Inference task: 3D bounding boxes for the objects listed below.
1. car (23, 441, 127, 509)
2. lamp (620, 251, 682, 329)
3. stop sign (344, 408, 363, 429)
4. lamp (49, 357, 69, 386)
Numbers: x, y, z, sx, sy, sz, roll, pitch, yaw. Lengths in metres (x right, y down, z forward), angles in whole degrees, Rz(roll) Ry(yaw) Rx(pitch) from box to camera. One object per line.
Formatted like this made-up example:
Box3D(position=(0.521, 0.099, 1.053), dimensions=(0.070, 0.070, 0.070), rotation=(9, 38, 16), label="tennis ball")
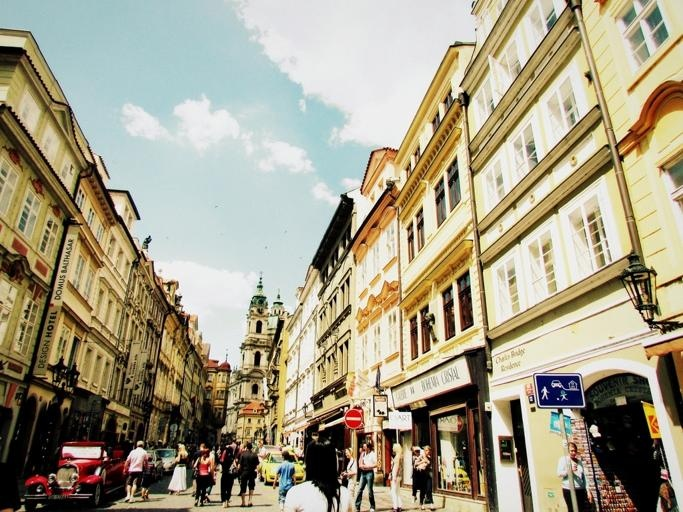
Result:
Box3D(position=(-8.922, 7.584, 15.948), dimensions=(1.913, 2.463, 3.233), rotation=(7, -32, -5), label="car")
Box3D(position=(6.341, 0.741, 9.834), dimensions=(0.895, 1.727, 0.827), rotation=(23, -35, -30), label="lamp")
Box3D(position=(0.450, 5.830, 16.721), dimensions=(0.534, 0.889, 1.328), rotation=(0, -32, 6), label="stop sign")
Box3D(position=(-14.590, 6.100, 24.418), dimensions=(0.602, 1.538, 1.869), rotation=(13, -33, -17), label="lamp")
